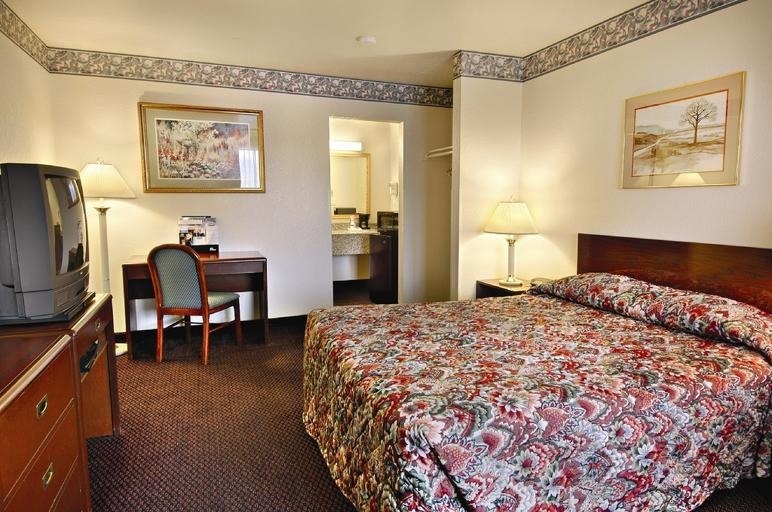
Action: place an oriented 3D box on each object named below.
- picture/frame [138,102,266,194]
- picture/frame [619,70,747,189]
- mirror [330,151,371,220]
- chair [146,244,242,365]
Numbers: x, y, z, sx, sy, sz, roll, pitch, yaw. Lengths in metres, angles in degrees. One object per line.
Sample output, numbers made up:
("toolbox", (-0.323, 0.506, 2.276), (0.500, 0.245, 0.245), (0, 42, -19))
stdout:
("picture/frame", (-1.823, -1.064, 4.975), (0.973, 0.687, 0.042), (-1, 3, -24))
("picture/frame", (2.119, -0.902, 3.676), (0.035, 0.878, 0.963), (-3, 6, -35))
("mirror", (-0.535, -1.097, 7.865), (0.637, 0.958, 0.129), (-5, 8, -23))
("chair", (-1.732, 0.370, 4.649), (0.585, 1.044, 0.677), (1, 8, 9))
